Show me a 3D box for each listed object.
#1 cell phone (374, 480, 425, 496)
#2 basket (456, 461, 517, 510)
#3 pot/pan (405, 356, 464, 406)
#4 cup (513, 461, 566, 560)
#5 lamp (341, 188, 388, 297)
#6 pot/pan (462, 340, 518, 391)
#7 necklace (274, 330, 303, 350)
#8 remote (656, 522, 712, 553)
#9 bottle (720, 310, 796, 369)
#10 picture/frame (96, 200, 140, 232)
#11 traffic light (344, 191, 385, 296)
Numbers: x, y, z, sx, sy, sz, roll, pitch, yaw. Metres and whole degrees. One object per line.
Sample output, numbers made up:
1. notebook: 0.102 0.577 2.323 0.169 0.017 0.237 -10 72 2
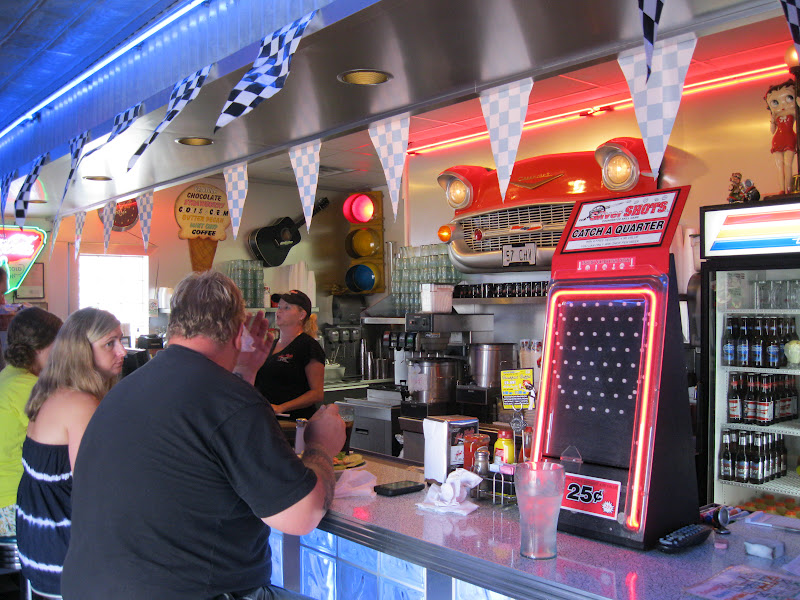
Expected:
1. cell phone: 0.002 0.778 2.563 0.221 0.033 0.117 -3 3 -32
2. basket: 0.352 0.679 2.403 0.217 0.156 0.149 -5 -9 43
3. pot/pan: 0.265 0.643 4.937 0.360 0.332 0.359 -2 -7 30
4. cup: 0.439 0.650 1.943 0.148 0.293 0.151 -2 3 0
5. lamp: -0.478 -0.729 7.883 0.446 1.301 0.301 -2 -1 12
6. pot/pan: 0.729 0.512 4.836 0.357 0.348 0.312 -2 3 1
7. necklace: -0.842 0.312 4.535 0.160 0.150 0.212 0 -6 -1
8. remote: 0.933 0.768 1.992 0.278 0.061 0.063 -4 4 -37
9. bottle: 2.244 0.252 3.858 0.336 0.339 0.116 1 -5 -1
10. picture/frame: -3.416 -1.032 7.532 0.486 0.504 0.130 -1 9 -7
11. traffic light: -0.456 -0.734 7.913 0.513 1.263 0.544 -2 3 -2
